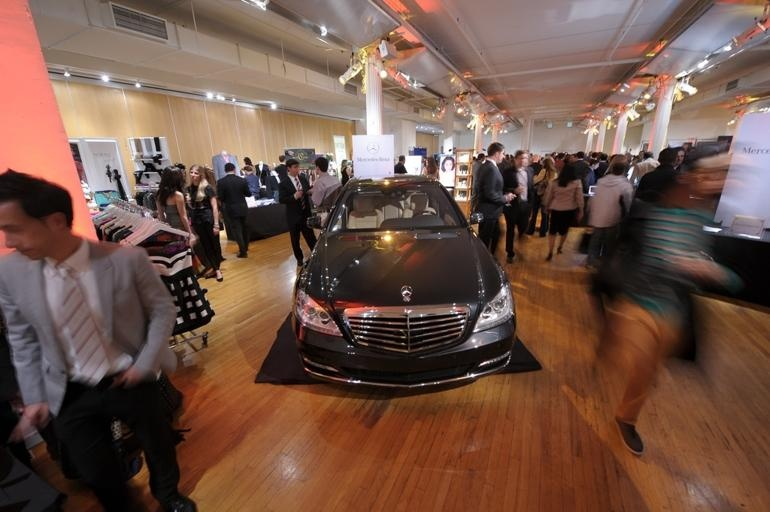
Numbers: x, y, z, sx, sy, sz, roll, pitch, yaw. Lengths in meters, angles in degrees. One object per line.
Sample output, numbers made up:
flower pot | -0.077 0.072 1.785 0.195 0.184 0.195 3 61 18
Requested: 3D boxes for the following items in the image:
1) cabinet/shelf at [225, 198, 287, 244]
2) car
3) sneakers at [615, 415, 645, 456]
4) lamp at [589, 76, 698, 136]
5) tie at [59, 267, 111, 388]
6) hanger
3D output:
cabinet/shelf | -2.886 -0.829 8.903 0.931 0.926 1.423 5 22 19
car | 0.195 0.217 3.950 1.351 1.036 3.051 -2 20 2
sneakers | 2.216 1.645 3.670 0.130 0.169 0.423 -2 44 24
lamp | 8.331 -4.874 13.051 3.416 0.735 2.245 -18 23 -20
tie | -2.236 0.523 3.021 0.272 0.862 0.176 1 16 12
hanger | -2.717 -0.325 4.429 1.014 0.374 0.722 18 31 29
